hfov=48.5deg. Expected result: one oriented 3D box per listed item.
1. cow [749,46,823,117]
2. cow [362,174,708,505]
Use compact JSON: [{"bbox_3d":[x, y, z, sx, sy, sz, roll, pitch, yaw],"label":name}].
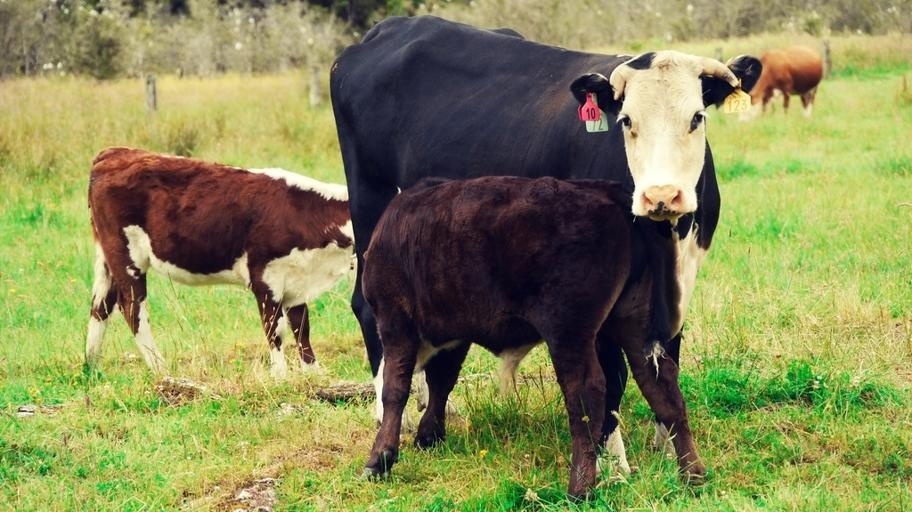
[{"bbox_3d":[6.008,-3.070,18.519,1.769,0.920,0.565,-4,-1,-27],"label":"cow"},{"bbox_3d":[0.332,0.780,11.982,4.714,3.707,1.664,2,3,36],"label":"cow"}]
